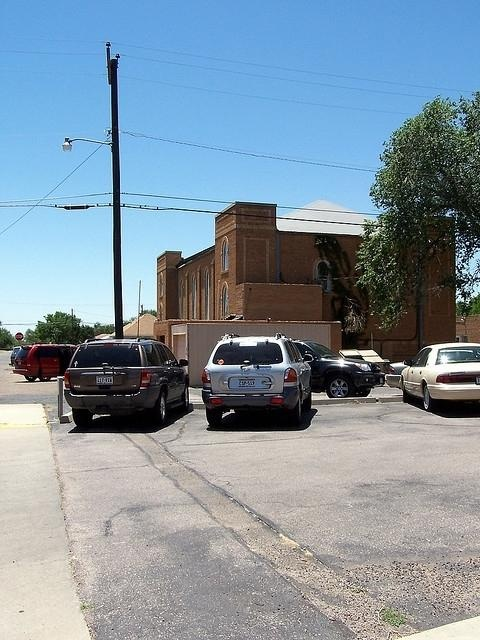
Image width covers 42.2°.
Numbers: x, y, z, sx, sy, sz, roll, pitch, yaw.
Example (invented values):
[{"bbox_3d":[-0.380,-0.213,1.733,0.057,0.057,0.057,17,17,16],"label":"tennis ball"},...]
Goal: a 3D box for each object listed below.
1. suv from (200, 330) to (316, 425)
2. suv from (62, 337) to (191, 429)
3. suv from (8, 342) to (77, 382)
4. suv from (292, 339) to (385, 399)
[{"bbox_3d":[0.257,1.015,11.605,1.111,1.107,2.497,-1,2,6],"label":"suv"},{"bbox_3d":[-2.102,1.134,12.701,1.267,1.154,2.600,-2,1,11],"label":"suv"},{"bbox_3d":[-9.607,2.004,29.937,3.249,1.601,2.337,-8,9,-34],"label":"suv"},{"bbox_3d":[2.909,1.409,18.178,2.476,1.277,1.444,-3,0,12],"label":"suv"}]
